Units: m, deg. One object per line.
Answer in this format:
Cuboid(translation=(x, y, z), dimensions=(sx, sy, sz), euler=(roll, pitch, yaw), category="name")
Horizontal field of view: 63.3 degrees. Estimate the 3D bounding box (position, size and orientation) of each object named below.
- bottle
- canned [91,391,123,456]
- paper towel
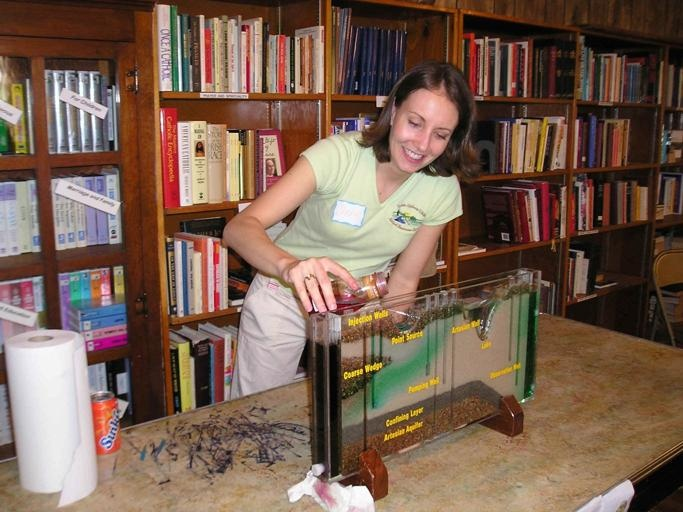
Cuboid(translation=(0.014, 0.072, 1.428), dimensions=(0.123, 0.077, 0.196), euler=(-8, 13, -30), category="bottle")
Cuboid(translation=(-0.600, 0.439, 1.433), dimensions=(0.102, 0.131, 0.097), euler=(-3, -8, -28), category="canned")
Cuboid(translation=(-0.661, 0.376, 1.262), dimensions=(0.163, 0.365, 0.117), euler=(-7, 12, -25), category="paper towel")
